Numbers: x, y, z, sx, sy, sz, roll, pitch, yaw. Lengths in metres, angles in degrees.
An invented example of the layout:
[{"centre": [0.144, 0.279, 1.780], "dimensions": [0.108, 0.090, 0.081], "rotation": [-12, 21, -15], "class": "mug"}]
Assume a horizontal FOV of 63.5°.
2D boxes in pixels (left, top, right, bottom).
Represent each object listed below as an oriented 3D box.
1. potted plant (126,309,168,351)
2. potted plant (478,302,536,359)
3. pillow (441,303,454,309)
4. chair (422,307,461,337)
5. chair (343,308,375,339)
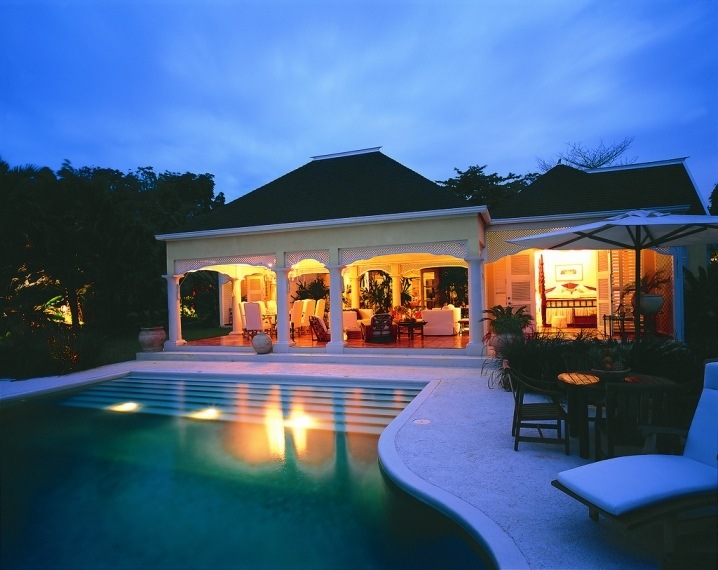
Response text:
[{"centre": [-7.620, 1.579, 20.590], "dimensions": [1.425, 1.188, 1.366], "rotation": [-2, -2, 20], "class": "potted plant"}, {"centre": [3.233, 0.929, 13.000], "dimensions": [1.415, 1.468, 1.448], "rotation": [0, 0, 43], "class": "potted plant"}, {"centre": [3.021, 0.732, 19.539], "dimensions": [0.298, 0.178, 0.357], "rotation": [-3, 1, 10], "class": "pillow"}, {"centre": [2.568, 1.128, 18.640], "dimensions": [1.006, 0.784, 1.038], "rotation": [0, -3, 14], "class": "chair"}, {"centre": [-0.101, 1.309, 19.805], "dimensions": [0.973, 0.882, 0.980], "rotation": [0, -3, -6], "class": "chair"}]
